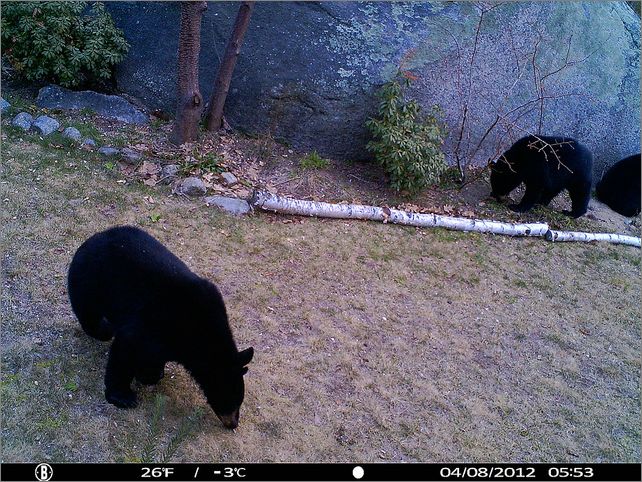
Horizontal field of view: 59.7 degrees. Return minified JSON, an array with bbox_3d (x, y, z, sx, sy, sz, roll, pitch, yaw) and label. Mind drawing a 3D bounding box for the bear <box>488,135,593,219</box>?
[{"bbox_3d":[3.854,-1.128,9.475,1.901,1.593,0.989,11,26,27],"label":"bear"}]
